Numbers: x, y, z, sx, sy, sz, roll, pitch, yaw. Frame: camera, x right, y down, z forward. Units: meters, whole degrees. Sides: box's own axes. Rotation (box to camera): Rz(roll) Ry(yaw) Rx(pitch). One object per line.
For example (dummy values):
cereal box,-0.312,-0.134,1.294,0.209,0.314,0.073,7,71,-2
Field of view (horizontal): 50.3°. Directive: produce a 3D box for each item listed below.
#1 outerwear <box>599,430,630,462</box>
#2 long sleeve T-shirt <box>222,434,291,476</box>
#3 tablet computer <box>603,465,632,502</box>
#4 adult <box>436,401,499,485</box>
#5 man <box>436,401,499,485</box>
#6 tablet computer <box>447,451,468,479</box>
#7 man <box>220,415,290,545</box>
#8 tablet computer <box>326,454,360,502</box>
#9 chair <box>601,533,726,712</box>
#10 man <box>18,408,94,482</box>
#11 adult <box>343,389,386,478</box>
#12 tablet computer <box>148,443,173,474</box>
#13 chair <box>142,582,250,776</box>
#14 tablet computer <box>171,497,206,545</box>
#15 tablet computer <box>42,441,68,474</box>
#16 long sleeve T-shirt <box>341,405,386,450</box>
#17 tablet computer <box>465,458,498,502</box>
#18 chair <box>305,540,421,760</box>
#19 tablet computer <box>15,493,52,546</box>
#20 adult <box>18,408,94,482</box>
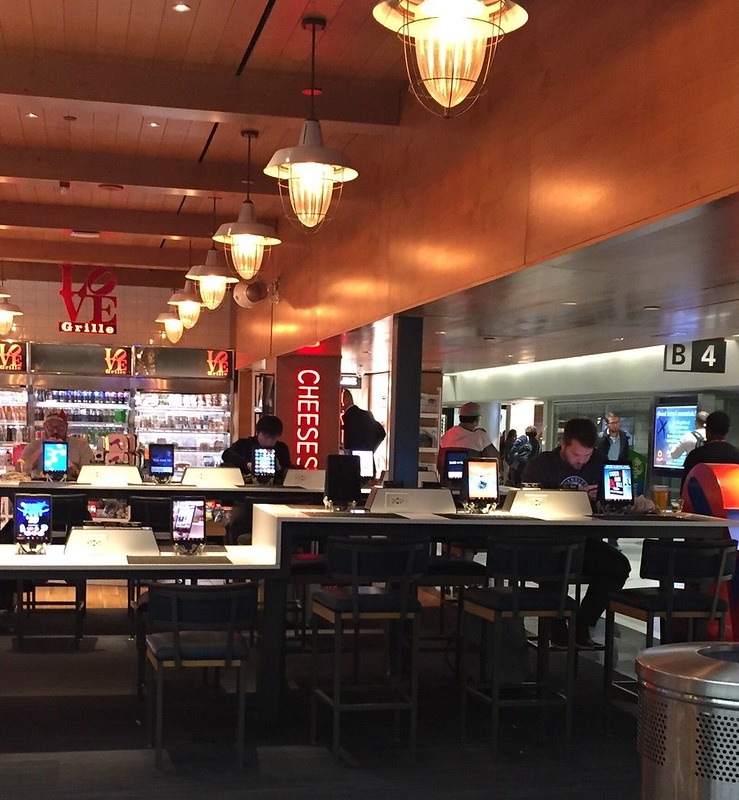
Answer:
outerwear,2.977,0.557,9.510,0.390,0.441,0.237,1,-5,-6
long sleeve T-shirt,-1.201,0.596,8.219,0.763,0.451,0.661,-2,1,25
tablet computer,1.566,0.533,4.949,0.223,0.306,0.031,0,-4,-7
adult,1.164,0.610,9.131,0.744,1.164,0.614,7,12,20
man,1.229,0.479,9.568,0.871,1.235,0.660,5,11,25
tablet computer,0.853,0.642,7.747,0.188,0.293,0.474,1,-4,9
man,-1.050,0.893,7.902,0.681,1.590,0.858,-5,10,-8
tablet computer,-0.158,0.482,4.682,0.205,0.294,0.194,2,-3,-9
chair,1.794,1.286,4.657,0.746,1.000,1.238,1,-3,17
man,-3.022,0.463,7.616,0.691,0.962,0.686,-1,-24,-14
adult,-0.158,0.417,8.902,0.641,1.079,0.413,1,-8,-41
tablet computer,-1.984,0.573,7.474,0.217,0.297,0.193,3,-3,-20
chair,-0.840,1.228,3.859,0.490,0.831,1.143,2,-3,-13
tablet computer,-0.966,0.648,4.173,0.233,0.328,0.033,2,-17,-14
tablet computer,-2.881,0.531,7.147,0.282,0.396,0.044,1,-3,-15
long sleeve T-shirt,-0.067,0.303,8.850,0.451,0.466,0.354,2,-3,-1
tablet computer,0.721,0.516,5.027,0.256,0.360,0.180,0,-3,2
chair,-0.018,1.186,3.833,0.582,1.080,0.590,-12,-24,36
tablet computer,-1.750,0.629,4.062,0.179,0.263,0.137,3,-3,-20
adult,-3.022,0.462,7.605,0.691,0.962,0.686,-1,-24,-14
